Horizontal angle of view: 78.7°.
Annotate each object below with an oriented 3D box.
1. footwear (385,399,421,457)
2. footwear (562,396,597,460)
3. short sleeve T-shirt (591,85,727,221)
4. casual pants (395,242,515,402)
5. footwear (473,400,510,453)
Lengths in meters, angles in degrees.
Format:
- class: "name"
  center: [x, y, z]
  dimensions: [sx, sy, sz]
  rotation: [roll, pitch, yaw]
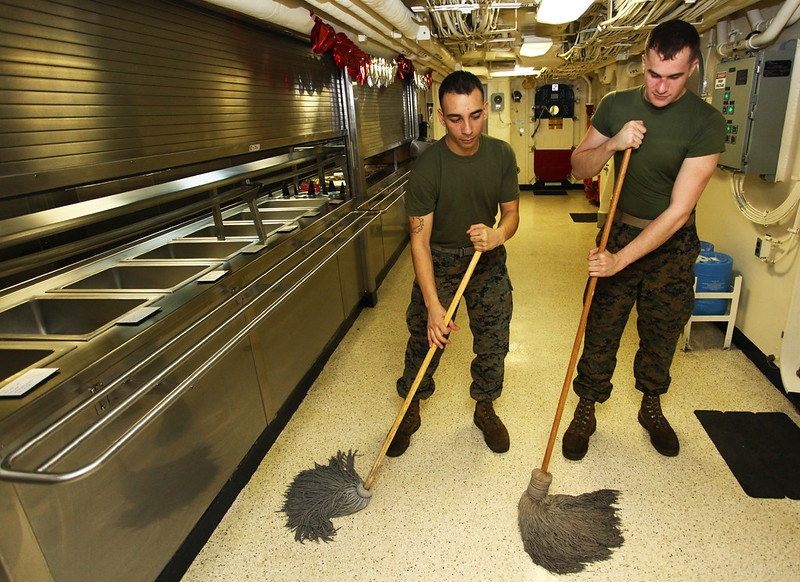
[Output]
- class: "footwear"
  center: [0.034, 0.760, 2.760]
  dimensions: [0.134, 0.197, 0.339]
  rotation: [11, 20, 20]
- class: "footwear"
  center: [0.954, 0.749, 2.628]
  dimensions: [0.133, 0.225, 0.380]
  rotation: [8, 8, 26]
- class: "short sleeve T-shirt"
  center: [1.181, -0.651, 2.273]
  dimensions: [0.239, 0.583, 0.622]
  rotation: [-32, 44, -31]
- class: "casual pants"
  center: [0.302, 0.137, 2.692]
  dimensions: [0.647, 1.200, 0.300]
  rotation: [-1, 25, -3]
- class: "footwear"
  center: [0.511, 0.747, 2.722]
  dimensions: [0.121, 0.187, 0.307]
  rotation: [-12, 17, -15]
